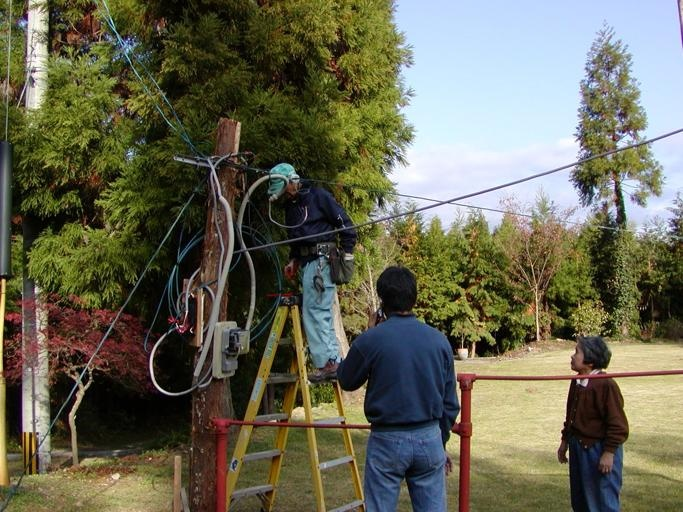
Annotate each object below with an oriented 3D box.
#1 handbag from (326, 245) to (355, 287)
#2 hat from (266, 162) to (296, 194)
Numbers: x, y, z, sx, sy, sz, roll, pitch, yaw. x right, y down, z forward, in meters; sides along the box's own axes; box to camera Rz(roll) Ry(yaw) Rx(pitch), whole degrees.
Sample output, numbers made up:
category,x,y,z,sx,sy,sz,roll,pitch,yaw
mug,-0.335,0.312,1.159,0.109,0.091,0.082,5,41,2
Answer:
category,x,y,z,sx,sy,sz,roll,pitch,yaw
handbag,-0.027,0.107,7.895,0.244,0.507,0.382,-12,-18,38
hat,-0.755,-0.923,8.052,0.346,0.392,0.298,0,-3,-26
